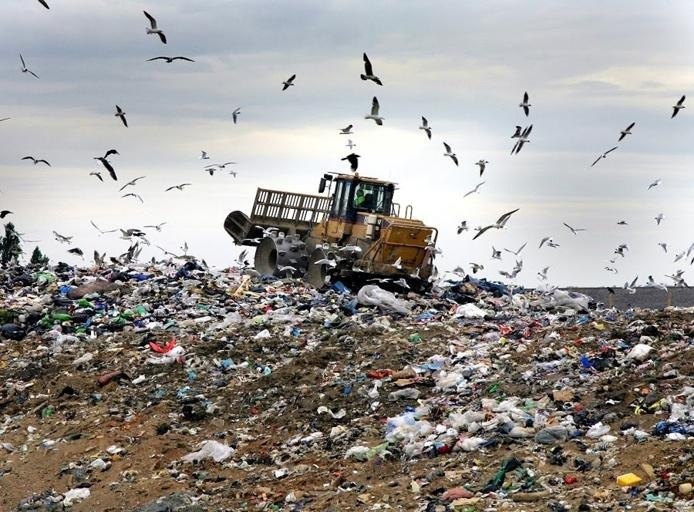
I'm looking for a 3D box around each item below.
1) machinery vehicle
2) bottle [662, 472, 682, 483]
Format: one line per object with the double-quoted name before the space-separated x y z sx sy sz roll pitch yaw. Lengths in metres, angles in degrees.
"machinery vehicle" -0.100 -0.653 15.768 3.602 1.689 5.037 -7 12 -31
"bottle" 3.124 2.122 6.965 0.131 0.035 0.138 2 6 0
